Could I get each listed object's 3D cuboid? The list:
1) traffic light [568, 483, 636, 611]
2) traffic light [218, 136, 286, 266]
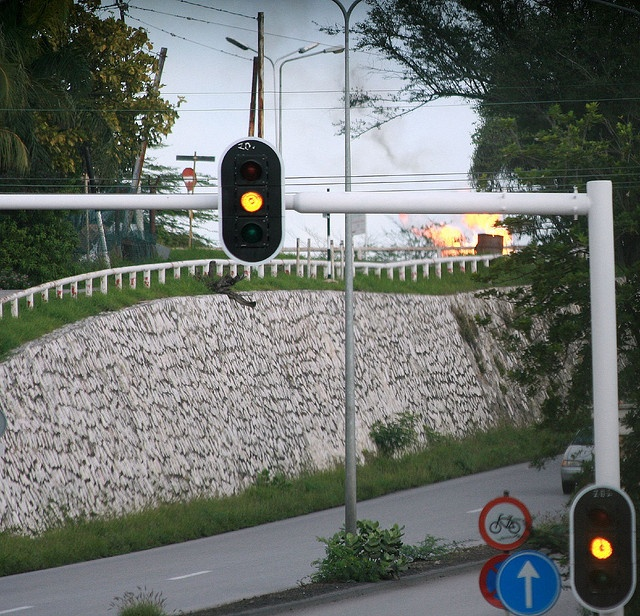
[{"bbox_3d":[4.726,3.979,25.174,1.071,2.073,0.393,-1,3,10],"label":"traffic light"},{"bbox_3d":[-1.172,-1.749,26.170,1.155,0.579,2.985,-1,52,-2],"label":"traffic light"}]
